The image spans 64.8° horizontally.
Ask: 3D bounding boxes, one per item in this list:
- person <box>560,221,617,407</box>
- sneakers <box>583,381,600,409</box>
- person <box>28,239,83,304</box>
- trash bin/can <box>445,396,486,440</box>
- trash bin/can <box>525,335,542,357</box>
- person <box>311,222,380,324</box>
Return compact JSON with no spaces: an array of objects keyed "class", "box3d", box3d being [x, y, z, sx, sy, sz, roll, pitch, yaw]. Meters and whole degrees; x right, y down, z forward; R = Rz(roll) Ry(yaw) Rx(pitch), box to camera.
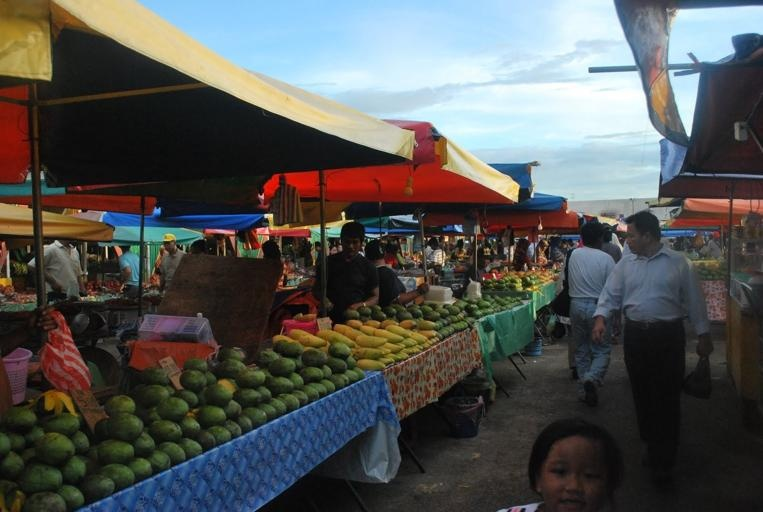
[{"class":"person","box3d":[3.081,0.737,8.163,1.003,2.401,0.972,1,-2,-3]},{"class":"sneakers","box3d":[2.626,1.744,7.576,0.160,0.321,0.158,-7,-7,31]},{"class":"person","box3d":[-5.576,0.672,10.482,0.532,1.740,0.924,-2,-3,27]},{"class":"trash bin/can","box3d":[0.941,1.827,6.858,0.519,0.403,0.464,3,-6,-28]},{"class":"trash bin/can","box3d":[2.799,1.634,10.998,0.407,0.349,0.381,1,-4,-16]},{"class":"person","box3d":[-0.395,0.258,6.744,0.508,1.421,0.431,0,0,4]}]
